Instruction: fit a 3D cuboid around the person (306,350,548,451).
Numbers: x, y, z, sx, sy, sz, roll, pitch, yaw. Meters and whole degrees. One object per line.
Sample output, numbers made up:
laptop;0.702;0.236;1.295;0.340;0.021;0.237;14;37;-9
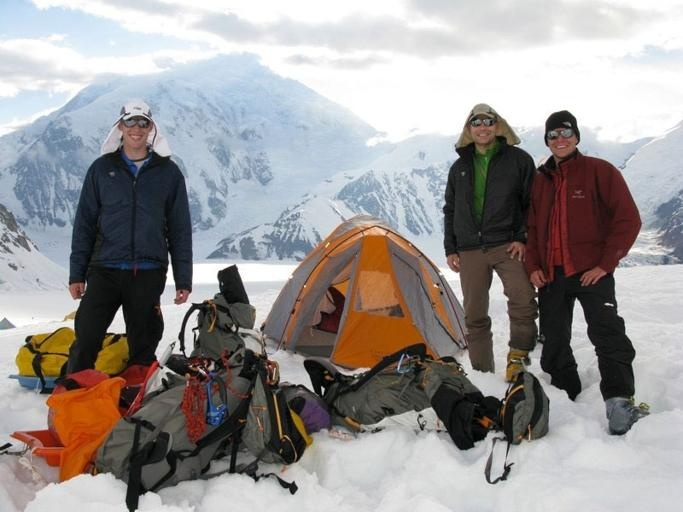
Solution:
person;0.854;1.399;5.843;1.518;0.538;1.056;0;-3;-9

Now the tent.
tent;0.235;0.564;9.667;2.605;1.460;2.506;2;-2;-28

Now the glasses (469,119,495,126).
glasses;1.648;-1.562;6.906;0.279;0.104;0.076;0;0;21

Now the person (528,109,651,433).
person;2.587;0.005;6.110;0.681;3.082;1.380;0;-1;-20

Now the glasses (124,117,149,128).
glasses;-2.294;-1.494;6.620;0.269;0.109;0.088;0;0;-17

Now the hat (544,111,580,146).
hat;2.370;-1.392;6.413;0.382;0.339;0.392;-3;-2;34
